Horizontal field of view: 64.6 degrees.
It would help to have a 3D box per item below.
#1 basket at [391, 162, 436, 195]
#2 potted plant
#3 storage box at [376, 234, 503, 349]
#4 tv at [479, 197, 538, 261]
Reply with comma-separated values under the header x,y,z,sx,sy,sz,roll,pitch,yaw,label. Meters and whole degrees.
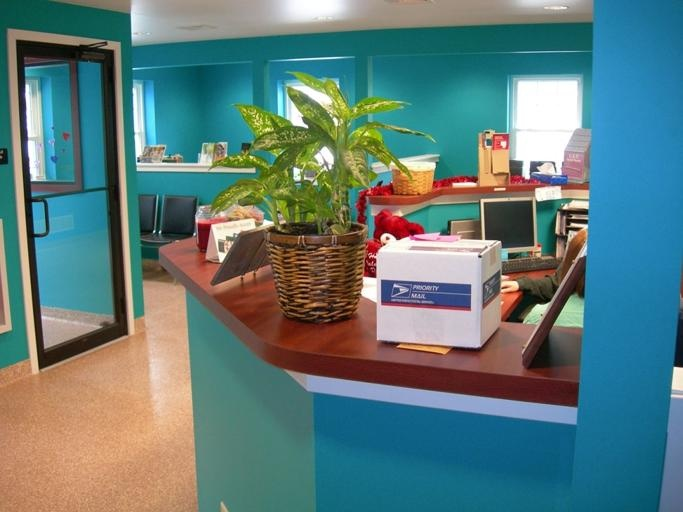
x,y,z,sx,sy,sz,roll,pitch,yaw,label
0.576,-0.561,3.975,0.302,0.183,0.258,4,7,2,basket
-0.048,-0.165,1.681,0.643,0.719,0.653,-6,11,-40,potted plant
0.287,0.097,1.525,0.316,0.241,0.331,3,5,40,storage box
1.242,-0.230,4.016,0.484,0.415,0.041,-4,2,-19,tv
